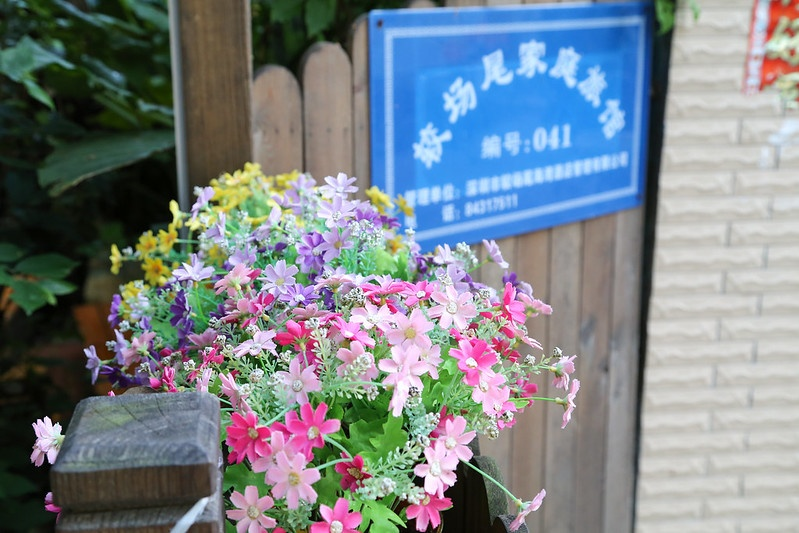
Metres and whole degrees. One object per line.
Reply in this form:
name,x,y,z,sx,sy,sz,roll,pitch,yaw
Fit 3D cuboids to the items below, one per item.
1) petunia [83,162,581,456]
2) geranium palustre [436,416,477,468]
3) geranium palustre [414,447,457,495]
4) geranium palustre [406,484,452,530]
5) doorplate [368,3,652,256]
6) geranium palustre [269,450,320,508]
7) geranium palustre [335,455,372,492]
petunia,-0.198,0.161,3.153,1.282,0.799,0.822,5,15,25
geranium palustre,0.145,0.455,2.939,0.115,0.119,0.048,34,-21,-19
geranium palustre,0.096,0.530,2.894,0.112,0.122,0.033,27,-11,-17
geranium palustre,0.078,0.630,2.966,0.101,0.112,0.038,-8,11,-18
doorplate,0.325,-0.469,3.627,1.028,0.751,0.027,-2,5,-24
geranium palustre,-0.270,0.543,2.849,0.128,0.160,0.085,7,16,32
geranium palustre,-0.113,0.531,2.938,0.091,0.097,0.040,-18,-3,39
